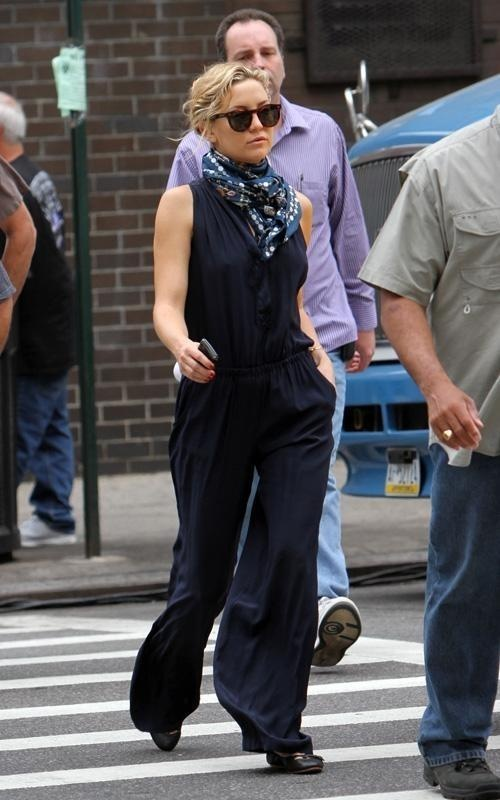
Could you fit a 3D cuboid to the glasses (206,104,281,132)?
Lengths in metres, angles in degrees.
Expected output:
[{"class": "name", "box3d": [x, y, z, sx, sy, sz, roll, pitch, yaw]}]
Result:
[{"class": "glasses", "box3d": [0.002, -0.699, 3.394, 0.115, 0.035, 0.106, -7, 6, -27]}]

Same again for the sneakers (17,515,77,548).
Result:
[{"class": "sneakers", "box3d": [-1.095, 0.705, 7.211, 0.343, 0.130, 0.126, 6, -5, -11]}]

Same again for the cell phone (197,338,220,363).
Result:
[{"class": "cell phone", "box3d": [-0.099, -0.109, 3.103, 0.038, 0.053, 0.075, -2, 0, -2]}]

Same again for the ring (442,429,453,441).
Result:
[{"class": "ring", "box3d": [0.407, 0.076, 2.826, 0.020, 0.018, 0.006, 18, 15, 35]}]

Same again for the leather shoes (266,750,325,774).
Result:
[{"class": "leather shoes", "box3d": [0.105, 0.864, 3.253, 0.153, 0.052, 0.054, -5, -11, 20]}]

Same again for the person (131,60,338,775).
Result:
[{"class": "person", "box3d": [-0.061, 0.029, 3.352, 0.538, 1.735, 0.459, -2, 0, 2]}]
